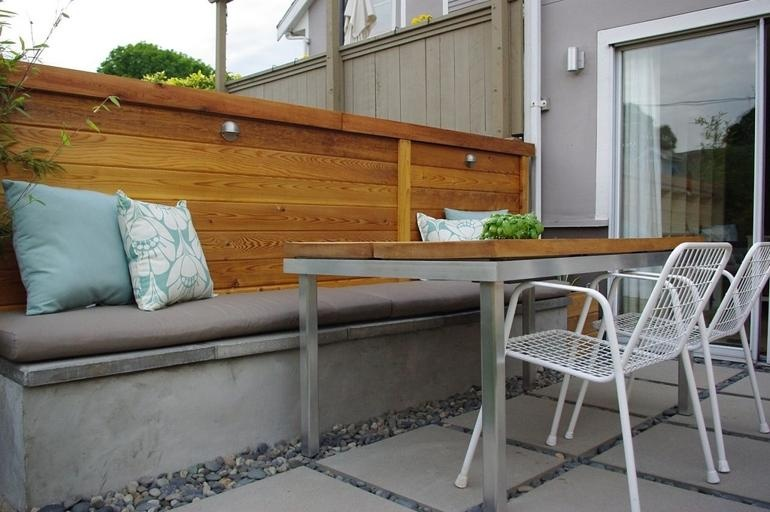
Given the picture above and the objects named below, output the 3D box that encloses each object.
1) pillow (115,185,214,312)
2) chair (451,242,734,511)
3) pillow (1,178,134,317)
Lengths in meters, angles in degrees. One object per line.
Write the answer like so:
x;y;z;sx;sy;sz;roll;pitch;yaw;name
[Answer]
-1.166;-0.032;2.917;0.339;0.552;0.622;8;3;9;pillow
1.025;0.553;2.866;1.199;1.518;1.277;1;-1;-42;chair
-1.533;-0.028;2.632;0.339;0.534;0.661;12;8;42;pillow
